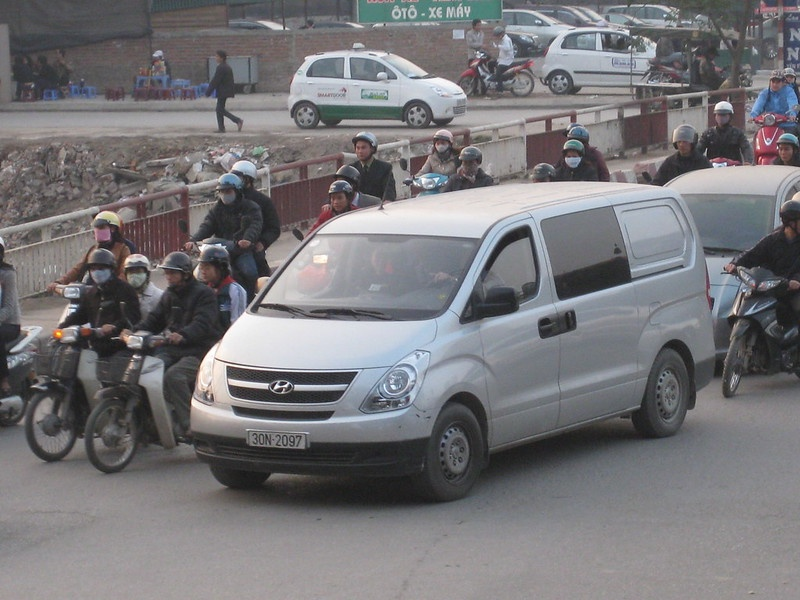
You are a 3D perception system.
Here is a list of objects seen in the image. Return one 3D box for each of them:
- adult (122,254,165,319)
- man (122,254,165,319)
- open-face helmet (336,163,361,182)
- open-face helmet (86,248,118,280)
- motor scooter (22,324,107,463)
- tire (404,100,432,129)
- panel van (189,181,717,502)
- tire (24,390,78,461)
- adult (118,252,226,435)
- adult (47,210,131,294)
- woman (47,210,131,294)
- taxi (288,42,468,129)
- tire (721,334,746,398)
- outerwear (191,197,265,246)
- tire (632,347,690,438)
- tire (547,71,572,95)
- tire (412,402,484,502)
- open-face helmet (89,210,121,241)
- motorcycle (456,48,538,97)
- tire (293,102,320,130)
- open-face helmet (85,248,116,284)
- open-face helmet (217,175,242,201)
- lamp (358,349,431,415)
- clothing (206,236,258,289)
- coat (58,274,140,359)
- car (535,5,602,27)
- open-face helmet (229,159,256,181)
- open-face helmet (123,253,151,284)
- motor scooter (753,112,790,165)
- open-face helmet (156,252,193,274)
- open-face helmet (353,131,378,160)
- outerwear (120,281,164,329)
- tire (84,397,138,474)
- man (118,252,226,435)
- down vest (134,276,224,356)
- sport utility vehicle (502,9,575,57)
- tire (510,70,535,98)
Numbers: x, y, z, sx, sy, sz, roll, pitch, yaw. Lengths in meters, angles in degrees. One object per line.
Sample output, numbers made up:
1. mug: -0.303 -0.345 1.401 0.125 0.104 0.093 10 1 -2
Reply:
1. adult: -2.492 -0.132 10.025 0.306 0.670 0.319 -9 -1 18
2. man: -2.428 -0.122 10.033 0.308 0.656 0.343 -7 -14 -17
3. open-face helmet: -0.603 -1.565 12.808 0.187 0.181 0.265 15 23 35
4. open-face helmet: -2.749 -0.308 9.605 0.209 0.276 0.295 -1 1 5
5. motor scooter: -3.085 0.821 9.333 0.606 0.864 1.231 3 4 26
6. tire: 0.514 -5.194 29.125 0.568 0.654 0.206 3 23 6
7. panel van: 0.550 0.262 8.837 4.535 2.296 1.601 -7 10 -38
8. tire: -3.108 1.118 9.353 0.415 0.677 0.504 -3 8 -17
9. adult: -2.068 0.451 9.476 0.762 1.890 0.932 4 -3 28
10. adult: -3.214 -0.461 11.266 0.966 1.020 0.628 8 10 26
11. woman: -3.313 -0.464 11.254 0.866 1.006 0.619 5 9 10
12. taxi: -0.684 -5.752 30.089 4.052 2.115 2.559 0 6 15
13. tire: 3.526 0.684 11.031 0.103 0.728 0.671 11 13 29
14. outerwear: -1.858 -0.870 11.855 0.801 0.680 0.503 -10 -12 36
15. tire: 2.359 0.838 9.541 0.260 0.847 0.769 3 2 35
16. tire: 5.699 -7.721 37.065 0.586 0.653 0.202 -20 5 23
17. tire: 0.500 1.165 7.947 0.225 0.727 0.654 10 -6 -35
18. open-face helmet: -3.161 -0.786 11.283 0.243 0.324 0.311 -2 -6 29
19. motorcycle: 3.531 -8.079 37.235 2.590 1.749 1.377 2 6 15
20. tire: -2.672 -5.350 30.158 0.646 0.750 0.228 3 8 15
21. open-face helmet: -2.772 -0.299 9.724 0.225 0.307 0.318 0 0 6
22. open-face helmet: -1.905 -1.248 11.706 0.227 0.321 0.282 2 7 9
23. lamp: -0.005 0.592 7.556 0.312 0.512 0.150 14 6 -26
24. clothing: -1.751 -0.378 11.405 0.360 0.493 0.695 -2 -2 36
25. coat: -2.729 0.112 9.721 0.513 0.583 0.828 -2 -1 16
26. car: 7.458 -12.596 46.376 2.475 1.378 1.492 0 17 8
27. open-face helmet: -1.811 -1.504 12.225 0.280 0.253 0.228 -18 31 -30
28. open-face helmet: -2.534 -0.289 9.964 0.222 0.321 0.299 0 -3 0
29. motor scooter: 5.806 -2.541 16.436 0.469 0.785 0.766 3 8 27
30. open-face helmet: -2.031 -0.332 9.465 0.286 0.181 0.234 9 -5 -19
31. open-face helmet: -0.488 -2.022 13.722 0.300 0.407 0.410 2 -14 15
32. outerwear: -2.415 0.039 10.026 0.411 0.558 0.284 0 -16 11
33. tire: -2.463 1.169 8.975 0.258 0.502 0.438 -2 23 42
34. man: -2.055 0.463 9.463 0.775 1.828 0.969 0 -4 39
35. down vest: -1.990 0.150 9.517 0.588 0.739 0.895 4 -2 -41
36. sport utility vehicle: 5.613 -11.092 43.139 3.202 1.663 1.813 2 11 16
37. tire: 4.247 -7.566 36.464 0.711 0.781 0.198 -24 9 24
